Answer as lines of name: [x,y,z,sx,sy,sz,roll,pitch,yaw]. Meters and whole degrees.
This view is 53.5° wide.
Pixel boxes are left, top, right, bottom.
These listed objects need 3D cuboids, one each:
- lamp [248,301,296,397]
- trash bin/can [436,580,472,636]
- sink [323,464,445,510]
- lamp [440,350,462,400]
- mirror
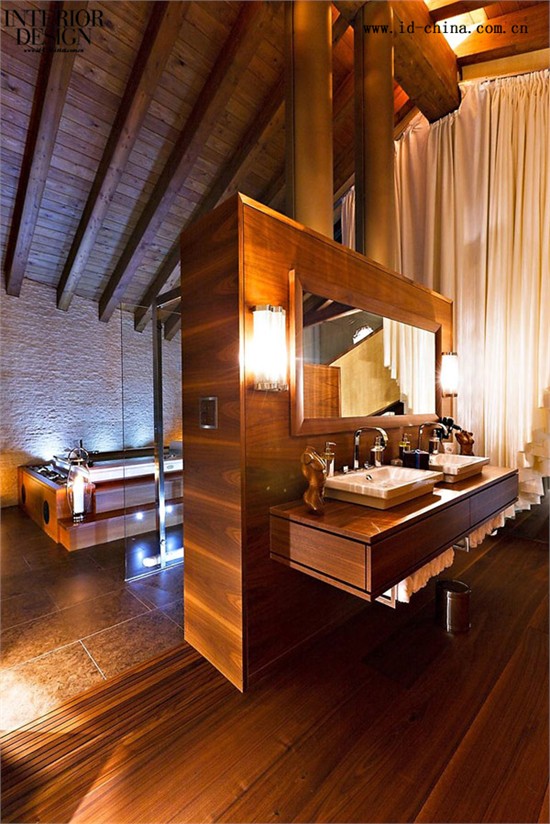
lamp: [-0.020,-0.215,1.899,0.146,0.296,0.081,-4,8,-18]
trash bin/can: [0.723,0.805,2.210,0.110,0.192,0.191,0,2,2]
sink: [0.443,0.273,2.187,0.332,0.096,0.525,6,11,42]
lamp: [1.045,-0.216,3.265,0.082,0.269,0.162,3,9,31]
mirror: [0.338,-0.218,2.384,0.056,0.715,0.951,4,10,37]
